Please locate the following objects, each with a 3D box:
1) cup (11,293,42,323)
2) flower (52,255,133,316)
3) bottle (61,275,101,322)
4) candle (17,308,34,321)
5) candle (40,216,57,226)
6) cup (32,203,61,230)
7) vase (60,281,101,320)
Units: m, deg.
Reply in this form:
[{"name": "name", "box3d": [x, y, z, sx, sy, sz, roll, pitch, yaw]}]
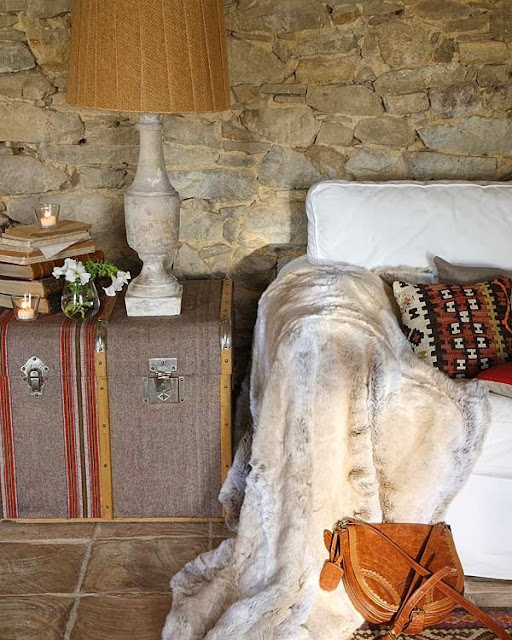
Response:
[{"name": "cup", "box3d": [-0.621, -0.029, 1.767, 0.086, 0.056, 0.075, -5, 10, -32]}, {"name": "flower", "box3d": [-0.454, -0.090, 1.822, 0.221, 0.126, 0.162, -1, 7, -15]}, {"name": "bottle", "box3d": [-0.505, -0.056, 1.820, 0.138, 0.114, 0.131, 1, -1, -17]}, {"name": "candle", "box3d": [-0.621, -0.016, 1.768, 0.041, 0.024, 0.037, -4, 27, -26]}, {"name": "candle", "box3d": [-0.597, -0.283, 1.891, 0.037, 0.019, 0.032, 7, 31, 10]}, {"name": "cup", "box3d": [-0.605, -0.300, 1.896, 0.090, 0.059, 0.072, 4, 9, 14]}, {"name": "vase", "box3d": [-0.474, -0.049, 1.821, 0.124, 0.096, 0.107, 0, 22, -6]}]
